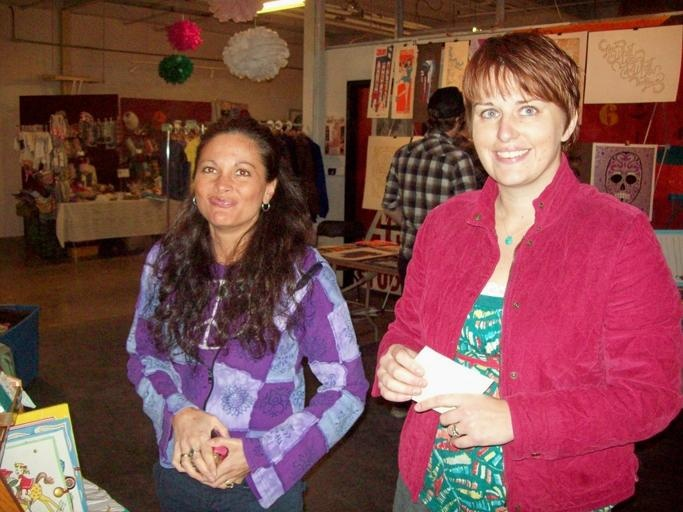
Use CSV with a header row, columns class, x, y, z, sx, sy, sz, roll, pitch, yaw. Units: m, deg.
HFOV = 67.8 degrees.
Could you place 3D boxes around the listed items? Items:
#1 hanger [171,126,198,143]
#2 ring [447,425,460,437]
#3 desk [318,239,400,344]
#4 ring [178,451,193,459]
class,x,y,z,sx,sy,sz,roll,pitch,yaw
hanger,-3.463,-2.629,11.061,0.542,0.125,0.536,-3,43,-9
ring,0.251,0.393,1.132,0.023,0.024,0.028,-12,11,-10
desk,0.174,0.252,5.582,1.190,0.579,0.656,1,18,43
ring,-0.429,0.547,1.398,0.040,0.024,0.013,1,11,-2
